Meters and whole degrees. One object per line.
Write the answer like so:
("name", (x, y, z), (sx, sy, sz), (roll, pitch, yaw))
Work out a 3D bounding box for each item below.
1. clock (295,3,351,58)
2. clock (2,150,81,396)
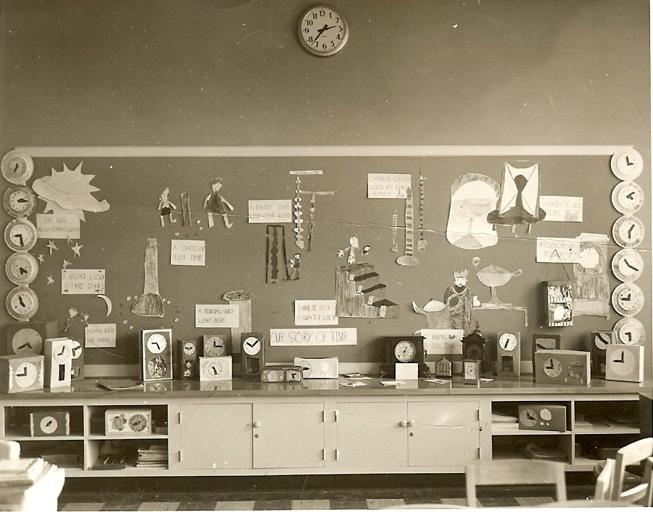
("clock", (-0.015, -1.811, 7.264), (0.396, 0.400, 0.398), (2, 11, -3))
("clock", (-2.244, 0.102, 7.168), (0.729, 1.934, 0.365), (2, -11, -16))
